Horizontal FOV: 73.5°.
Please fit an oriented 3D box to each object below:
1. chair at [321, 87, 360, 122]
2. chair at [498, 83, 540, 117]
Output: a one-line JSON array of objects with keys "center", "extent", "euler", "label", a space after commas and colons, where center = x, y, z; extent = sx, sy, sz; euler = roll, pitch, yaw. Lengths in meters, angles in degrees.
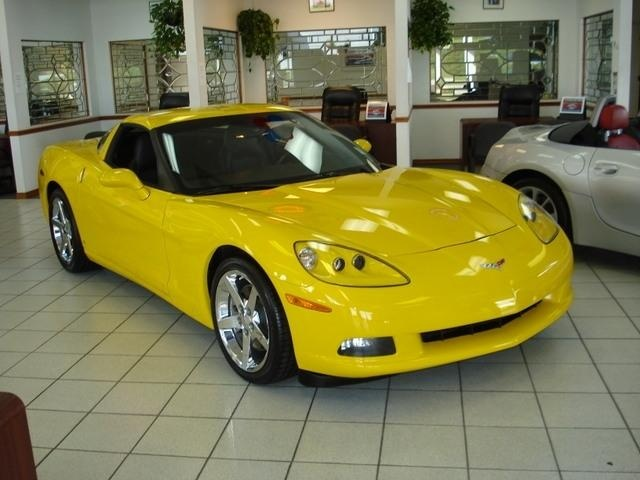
[{"center": [0.492, -2.937, 9.728], "extent": [0.861, 0.987, 1.152], "euler": [1, -3, -1], "label": "chair"}, {"center": [4.388, -3.104, 9.461], "extent": [0.683, 1.092, 0.904], "euler": [2, 18, 13], "label": "chair"}]
